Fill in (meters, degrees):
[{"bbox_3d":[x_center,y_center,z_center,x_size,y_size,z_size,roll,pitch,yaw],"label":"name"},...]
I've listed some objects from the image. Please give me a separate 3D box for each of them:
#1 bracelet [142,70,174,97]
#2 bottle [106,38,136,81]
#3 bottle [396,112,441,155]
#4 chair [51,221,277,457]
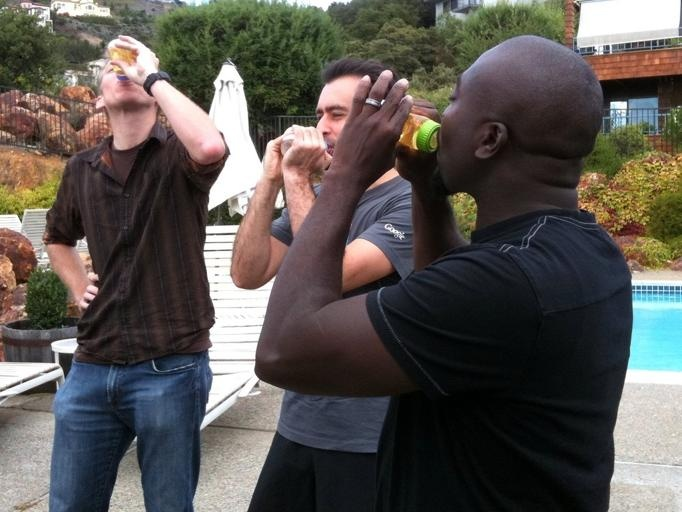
[{"bbox_3d":[-0.788,-0.776,2.617,0.126,0.130,0.084,-14,44,-32],"label":"bracelet"},{"bbox_3d":[-0.949,-0.854,2.652,0.157,0.165,0.047,-26,-6,37],"label":"bottle"},{"bbox_3d":[0.187,-0.298,1.504,0.112,0.069,0.070,25,15,28],"label":"bottle"},{"bbox_3d":[-1.481,0.467,5.682,1.016,1.690,3.094,0,0,1],"label":"chair"}]
